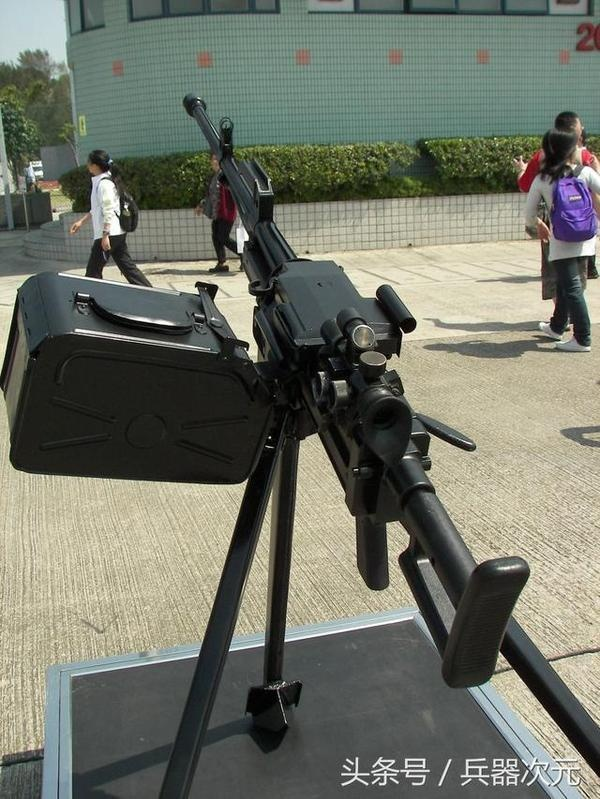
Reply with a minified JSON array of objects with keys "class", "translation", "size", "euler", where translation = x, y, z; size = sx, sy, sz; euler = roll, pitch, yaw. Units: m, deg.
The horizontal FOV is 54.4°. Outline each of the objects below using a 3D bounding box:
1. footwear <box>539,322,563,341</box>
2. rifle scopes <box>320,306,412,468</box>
[{"class":"footwear","translation":[2.438,-0.683,5.755],"size":[0.112,0.124,0.316],"euler":[-3,32,-7]},{"class":"rifle scopes","translation":[0.066,-0.027,0.810],"size":[0.084,0.132,0.280],"euler":[-1,30,-5]}]
